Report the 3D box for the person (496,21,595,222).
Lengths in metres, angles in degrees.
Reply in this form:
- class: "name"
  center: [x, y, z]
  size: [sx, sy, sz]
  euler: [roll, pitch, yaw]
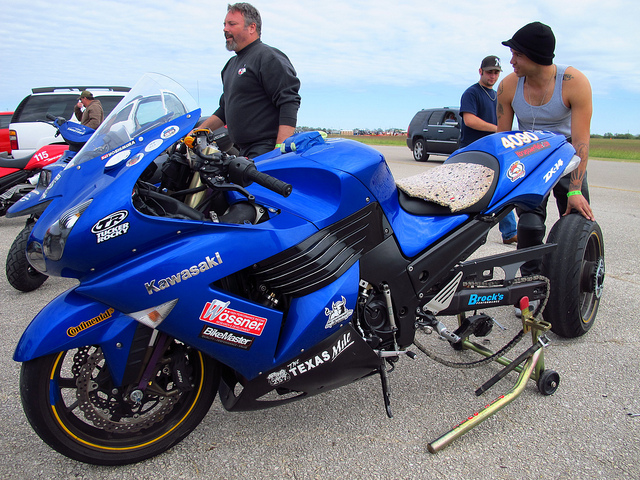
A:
- class: "person"
  center: [2.042, -0.819, 4.193]
  size: [0.909, 2.259, 0.786]
  euler: [6, 24, 33]
